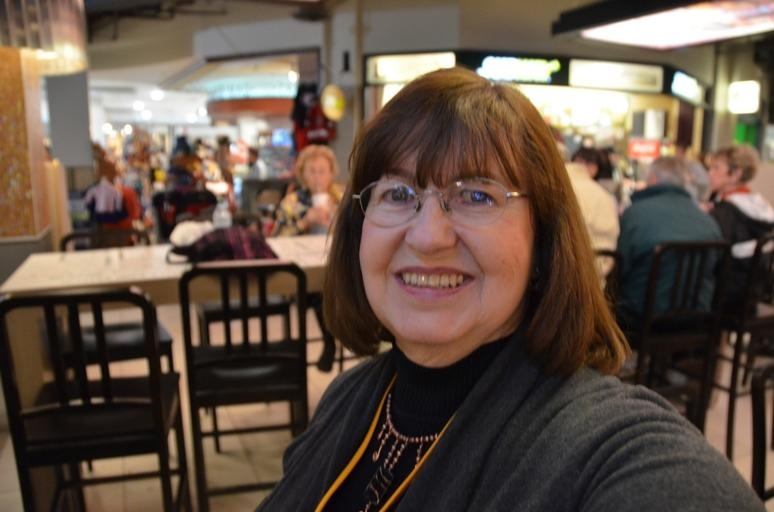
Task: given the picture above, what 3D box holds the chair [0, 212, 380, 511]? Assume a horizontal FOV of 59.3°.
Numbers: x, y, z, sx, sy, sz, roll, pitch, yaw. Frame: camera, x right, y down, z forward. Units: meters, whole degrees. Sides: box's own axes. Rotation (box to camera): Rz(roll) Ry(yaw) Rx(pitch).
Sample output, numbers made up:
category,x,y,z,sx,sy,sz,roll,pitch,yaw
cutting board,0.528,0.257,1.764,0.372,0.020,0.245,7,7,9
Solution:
category,x,y,z,sx,sy,sz,roll,pitch,yaw
chair,-1.162,0.651,4.044,2.083,1.407,1.083,-3,29,-12
